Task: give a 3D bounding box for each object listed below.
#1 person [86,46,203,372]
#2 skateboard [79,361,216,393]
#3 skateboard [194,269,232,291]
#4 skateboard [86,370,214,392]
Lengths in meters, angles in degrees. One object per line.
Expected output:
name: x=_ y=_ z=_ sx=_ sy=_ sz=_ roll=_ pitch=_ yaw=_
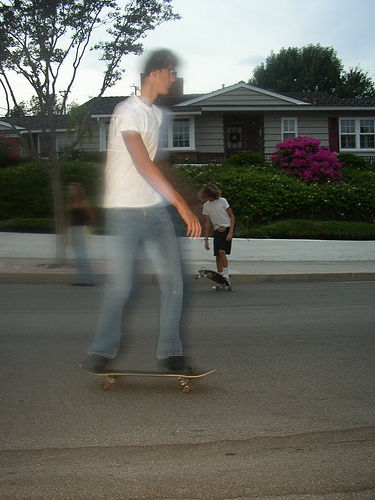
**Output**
person: x=-0.327 y=-0.270 z=3.576 sx=0.704 sy=2.059 sz=0.675 roll=-2 pitch=9 yaw=-10
skateboard: x=-0.254 y=0.847 z=3.695 sx=1.051 sy=0.152 sz=0.236 roll=1 pitch=2 yaw=3
skateboard: x=0.581 y=0.588 z=10.248 sx=0.402 sy=0.166 sz=0.497 roll=3 pitch=-19 yaw=41
skateboard: x=-0.310 y=0.806 z=3.543 sx=0.955 sy=0.141 sz=0.213 roll=1 pitch=0 yaw=3
